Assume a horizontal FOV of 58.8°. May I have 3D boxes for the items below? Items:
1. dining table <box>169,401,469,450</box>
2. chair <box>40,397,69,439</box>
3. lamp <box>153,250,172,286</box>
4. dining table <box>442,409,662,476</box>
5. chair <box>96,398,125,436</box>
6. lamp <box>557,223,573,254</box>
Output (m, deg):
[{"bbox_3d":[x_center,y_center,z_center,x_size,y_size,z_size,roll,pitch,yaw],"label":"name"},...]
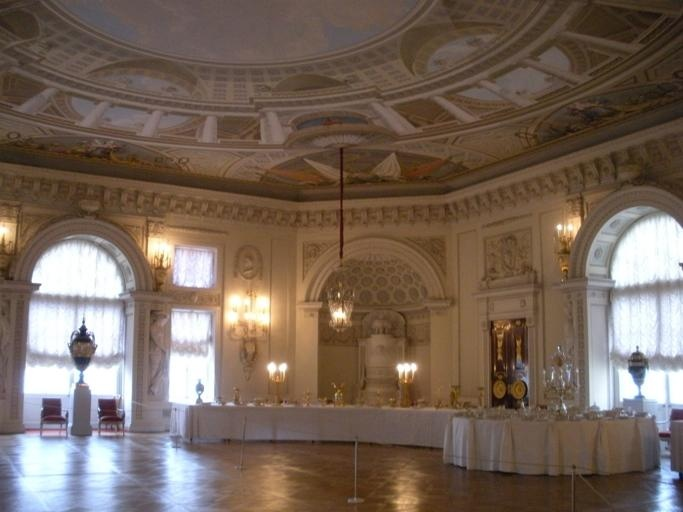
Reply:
[{"bbox_3d":[-0.697,4.166,14.978,6.034,0.880,1.225,0,-13,3],"label":"dining table"},{"bbox_3d":[-7.423,4.128,15.696,0.638,0.918,0.727,7,-13,-28],"label":"chair"},{"bbox_3d":[-5.188,0.407,17.669,0.533,1.115,0.331,9,-14,-34],"label":"lamp"},{"bbox_3d":[3.971,3.488,11.362,3.684,0.994,1.576,-2,-13,13],"label":"dining table"},{"bbox_3d":[-6.113,4.212,16.079,0.651,0.852,0.713,4,-12,-25],"label":"chair"},{"bbox_3d":[5.676,-0.481,15.332,0.385,0.867,0.539,-4,-13,21],"label":"lamp"}]
